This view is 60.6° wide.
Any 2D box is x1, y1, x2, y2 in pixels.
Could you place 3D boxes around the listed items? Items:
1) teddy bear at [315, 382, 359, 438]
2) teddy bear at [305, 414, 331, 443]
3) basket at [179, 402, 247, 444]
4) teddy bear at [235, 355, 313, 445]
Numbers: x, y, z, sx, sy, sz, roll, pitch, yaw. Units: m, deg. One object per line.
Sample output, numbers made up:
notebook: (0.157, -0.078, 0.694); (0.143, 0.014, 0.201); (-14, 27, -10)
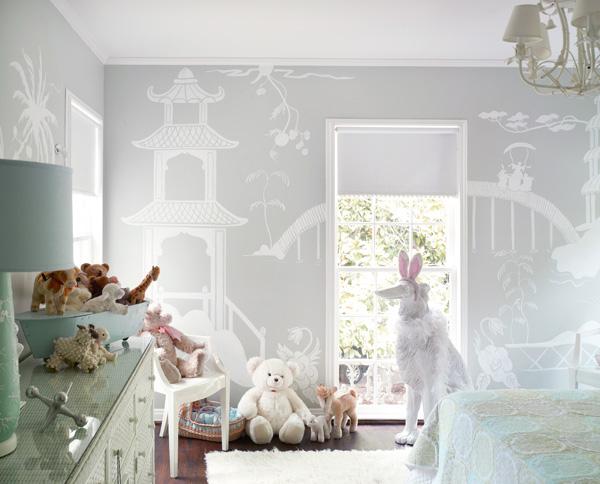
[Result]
teddy bear: (0.272, 1.197, 3.680); (0.405, 0.354, 0.163); (8, -12, -44)
teddy bear: (0.124, 1.288, 3.531); (0.182, 0.171, 0.083); (1, -7, -10)
basket: (-0.634, 1.247, 3.548); (0.310, 0.114, 0.256); (1, -1, 25)
teddy bear: (-0.167, 1.090, 3.560); (0.466, 0.553, 0.428); (2, -1, 0)
